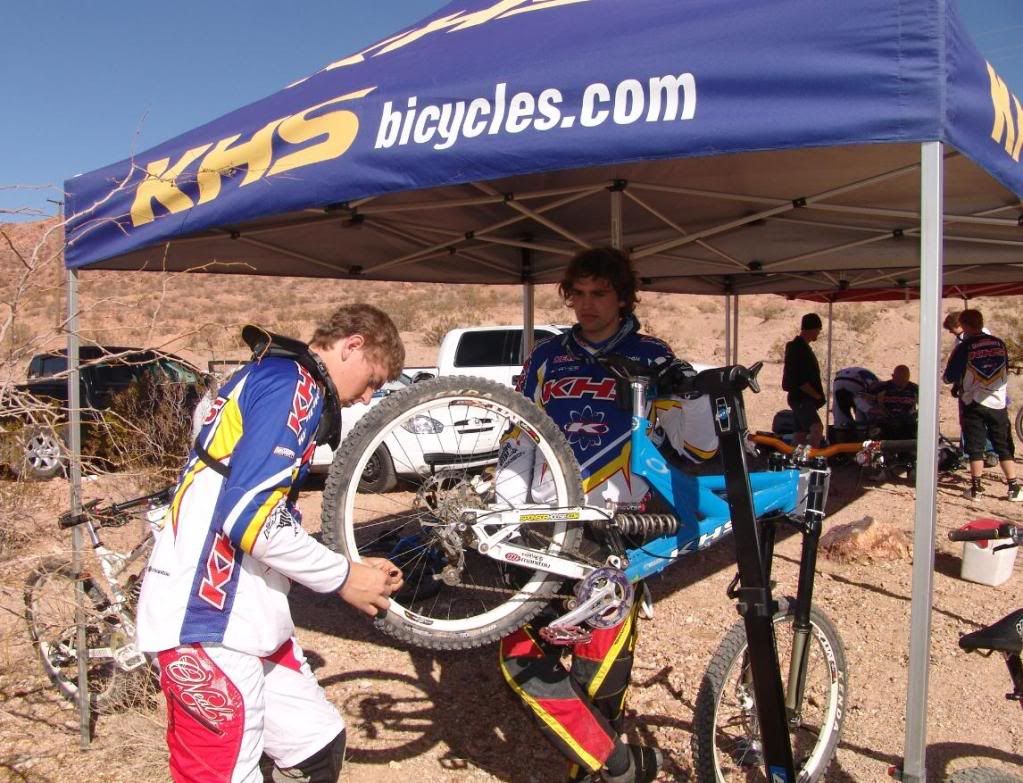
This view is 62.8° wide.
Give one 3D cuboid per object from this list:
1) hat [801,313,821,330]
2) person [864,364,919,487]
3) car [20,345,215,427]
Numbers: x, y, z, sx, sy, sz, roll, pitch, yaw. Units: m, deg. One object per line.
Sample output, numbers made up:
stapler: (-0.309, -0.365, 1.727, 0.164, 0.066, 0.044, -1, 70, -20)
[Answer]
hat: (3.805, -0.873, 10.641, 0.216, 0.147, 0.217, 7, 14, 31)
person: (4.589, 0.354, 10.009, 0.532, 1.401, 0.412, -1, 29, 10)
car: (-3.604, -0.022, 7.728, 1.806, 0.728, 0.830, -7, 7, -22)
